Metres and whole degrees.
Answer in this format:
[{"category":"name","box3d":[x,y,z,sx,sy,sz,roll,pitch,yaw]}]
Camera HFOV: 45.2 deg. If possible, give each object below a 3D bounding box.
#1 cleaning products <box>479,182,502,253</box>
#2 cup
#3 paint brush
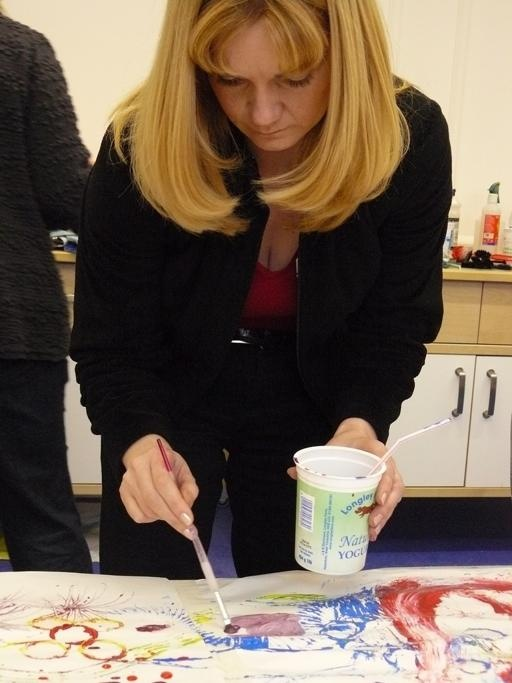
[{"category":"cleaning products","box3d":[0.889,-0.468,2.340,0.071,0.272,0.182,2,4,19]},{"category":"cup","box3d":[0.102,0.220,0.773,0.108,0.161,0.102,1,4,0]},{"category":"paint brush","box3d":[-0.061,0.250,0.755,0.080,0.187,0.116,0,11,-3]}]
